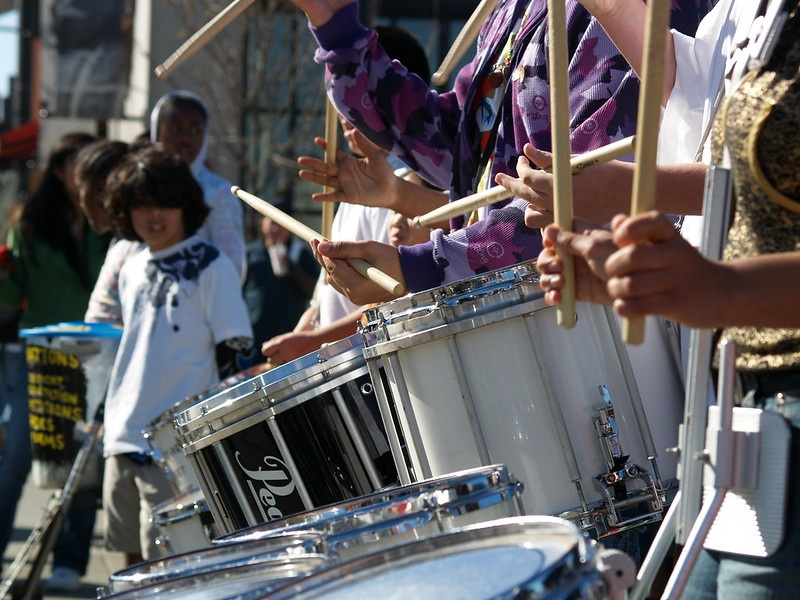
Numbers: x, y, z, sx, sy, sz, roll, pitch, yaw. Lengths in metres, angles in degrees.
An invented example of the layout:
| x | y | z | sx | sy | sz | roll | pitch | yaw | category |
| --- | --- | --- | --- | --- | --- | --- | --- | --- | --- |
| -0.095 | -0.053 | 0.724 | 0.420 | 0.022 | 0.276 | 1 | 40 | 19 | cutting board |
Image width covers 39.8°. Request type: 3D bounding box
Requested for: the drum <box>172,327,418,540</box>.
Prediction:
| x | y | z | sx | sy | sz | roll | pitch | yaw | category |
| --- | --- | --- | --- | --- | --- | --- | --- | --- | --- |
| -0.241 | 0.395 | 3.010 | 0.499 | 0.492 | 0.563 | -22 | -5 | 2 | drum |

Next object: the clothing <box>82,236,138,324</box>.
| x | y | z | sx | sy | sz | roll | pitch | yaw | category |
| --- | --- | --- | --- | --- | --- | --- | --- | --- | --- |
| -1.158 | -0.065 | 4.462 | 0.126 | 0.386 | 0.227 | 4 | -2 | 18 | clothing |

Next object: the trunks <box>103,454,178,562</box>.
| x | y | z | sx | sy | sz | roll | pitch | yaw | category |
| --- | --- | --- | --- | --- | --- | --- | --- | --- | --- |
| -1.008 | 0.745 | 4.184 | 0.260 | 0.407 | 0.137 | 4 | 15 | 3 | trunks |

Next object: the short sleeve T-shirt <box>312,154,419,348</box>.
| x | y | z | sx | sy | sz | roll | pitch | yaw | category |
| --- | --- | --- | --- | --- | --- | --- | --- | --- | --- |
| -0.191 | -0.167 | 4.110 | 0.370 | 0.687 | 0.201 | -9 | 18 | -9 | short sleeve T-shirt |

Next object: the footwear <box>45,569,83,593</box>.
| x | y | z | sx | sy | sz | roll | pitch | yaw | category |
| --- | --- | --- | --- | --- | --- | --- | --- | --- | --- |
| -1.489 | 1.230 | 4.849 | 0.146 | 0.111 | 0.175 | -14 | 3 | -18 | footwear |

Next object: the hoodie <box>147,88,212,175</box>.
| x | y | z | sx | sy | sz | roll | pitch | yaw | category |
| --- | --- | --- | --- | --- | --- | --- | --- | --- | --- |
| -1.146 | -0.850 | 5.768 | 0.297 | 0.594 | 0.322 | -7 | 17 | -26 | hoodie |

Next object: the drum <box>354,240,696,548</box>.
| x | y | z | sx | sy | sz | roll | pitch | yaw | category |
| --- | --- | --- | --- | --- | --- | --- | --- | --- | --- |
| 0.293 | 0.223 | 2.700 | 0.618 | 0.522 | 0.660 | -14 | -11 | -3 | drum |

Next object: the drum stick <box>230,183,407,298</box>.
| x | y | z | sx | sy | sz | roll | pitch | yaw | category |
| --- | --- | --- | --- | --- | --- | --- | --- | --- | --- |
| -0.224 | -0.156 | 2.833 | 0.038 | 0.542 | 0.041 | -51 | -8 | -49 | drum stick |
